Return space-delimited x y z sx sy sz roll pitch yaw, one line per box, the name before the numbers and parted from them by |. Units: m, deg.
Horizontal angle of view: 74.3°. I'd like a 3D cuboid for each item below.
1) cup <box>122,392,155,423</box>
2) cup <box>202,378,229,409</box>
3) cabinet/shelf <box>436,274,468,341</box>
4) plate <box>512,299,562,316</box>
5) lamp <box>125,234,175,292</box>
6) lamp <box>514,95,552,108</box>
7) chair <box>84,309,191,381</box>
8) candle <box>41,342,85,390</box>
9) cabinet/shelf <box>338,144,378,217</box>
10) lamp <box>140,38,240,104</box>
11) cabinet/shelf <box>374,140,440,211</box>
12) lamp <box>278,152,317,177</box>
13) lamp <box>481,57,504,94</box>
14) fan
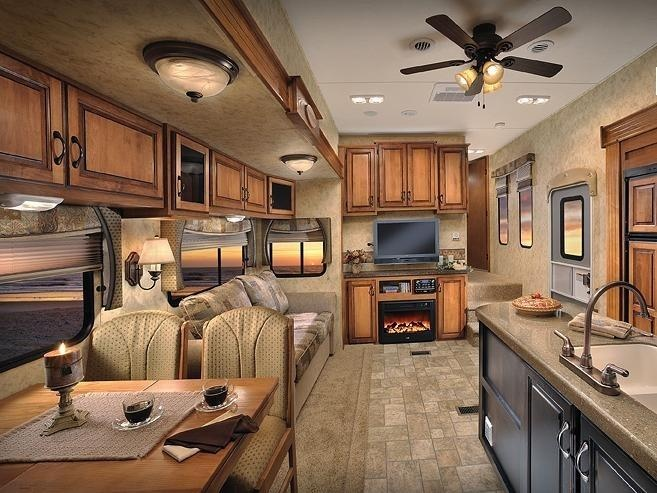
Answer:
cup | -0.974 0.829 2.235 0.135 0.097 0.144 0 -3 0
cup | -0.610 0.805 2.364 0.117 0.092 0.130 0 8 -6
cabinet/shelf | 1.594 0.804 5.646 0.369 0.832 0.164 -1 10 7
plate | 1.495 0.439 3.126 0.319 0.116 0.270 1 9 19
lamp | -1.325 0.119 3.187 0.405 0.420 0.338 -5 -5 11
lamp | 2.173 -1.560 4.629 0.255 0.041 0.130 2 -5 -9
chair | -1.217 0.618 2.934 0.466 0.573 0.513 1 0 -7
candle | -1.297 0.605 2.208 0.218 0.199 0.209 0 6 -16
cabinet/shelf | 0.400 -0.855 5.639 0.445 0.872 0.132 -1 10 5
lamp | -0.684 -0.834 2.133 0.277 0.103 0.277 -5 -7 29
cabinet/shelf | 1.026 -0.922 5.683 0.773 0.868 0.214 -1 10 6
lamp | -0.266 -0.761 3.945 0.403 0.147 0.303 -5 9 -23
lamp | 1.239 -1.275 3.245 0.184 0.148 0.216 -18 18 9
fan | 1.162 -1.416 3.085 1.137 0.503 0.996 -4 9 -18
